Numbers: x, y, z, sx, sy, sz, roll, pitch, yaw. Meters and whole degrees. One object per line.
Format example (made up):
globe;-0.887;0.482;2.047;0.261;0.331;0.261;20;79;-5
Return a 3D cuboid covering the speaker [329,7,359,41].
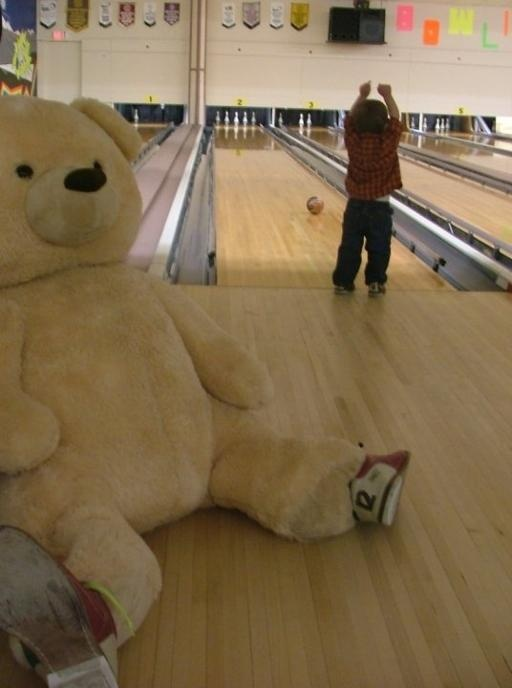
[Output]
speaker;1.594;-5.670;8.413;0.424;0.542;0.167;0;19;-1
